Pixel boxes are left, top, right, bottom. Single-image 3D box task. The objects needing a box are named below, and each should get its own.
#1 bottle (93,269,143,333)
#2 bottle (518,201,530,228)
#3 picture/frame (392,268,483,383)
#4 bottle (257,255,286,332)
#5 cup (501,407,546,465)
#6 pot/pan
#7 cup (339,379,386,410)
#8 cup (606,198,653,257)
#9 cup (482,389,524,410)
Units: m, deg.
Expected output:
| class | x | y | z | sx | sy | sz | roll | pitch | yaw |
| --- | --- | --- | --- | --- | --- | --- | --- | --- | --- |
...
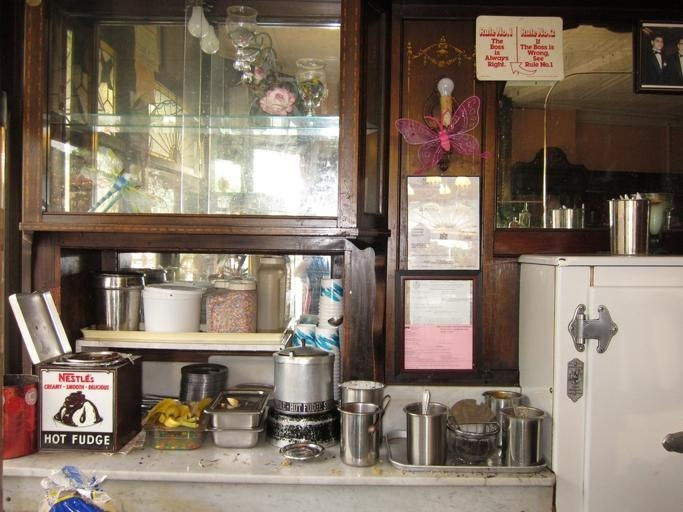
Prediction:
| class | x | y | z | sx | sy | sz | roll | pitch | yaw |
| --- | --- | --- | --- | --- | --- | --- | --- | --- | --- |
| bottle | -1.041 | 0.212 | 3.424 | 0.213 | 0.261 | 0.145 | 0 | 2 | -19 |
| bottle | 0.845 | -0.190 | 3.387 | 0.059 | 0.117 | 0.016 | 0 | 2 | -16 |
| picture/frame | 0.426 | 0.310 | 3.343 | 0.520 | 0.602 | 0.047 | 0 | 0 | 0 |
| bottle | -0.316 | 0.175 | 3.408 | 0.182 | 0.343 | 0.126 | -1 | 2 | -28 |
| cup | 0.760 | 0.753 | 3.077 | 0.180 | 0.226 | 0.171 | 0 | 2 | 0 |
| pot/pan | -0.159 | 0.535 | 3.226 | 0.251 | 0.262 | 0.273 | 0 | -3 | 2 |
| cup | 0.086 | 0.594 | 3.193 | 0.195 | 0.093 | 0.225 | 1 | 3 | 1 |
| cup | 1.264 | -0.135 | 3.204 | 0.183 | 0.256 | 0.106 | 1 | 2 | 9 |
| cup | 0.711 | 0.620 | 3.224 | 0.113 | 0.083 | 0.091 | -1 | -2 | 44 |
